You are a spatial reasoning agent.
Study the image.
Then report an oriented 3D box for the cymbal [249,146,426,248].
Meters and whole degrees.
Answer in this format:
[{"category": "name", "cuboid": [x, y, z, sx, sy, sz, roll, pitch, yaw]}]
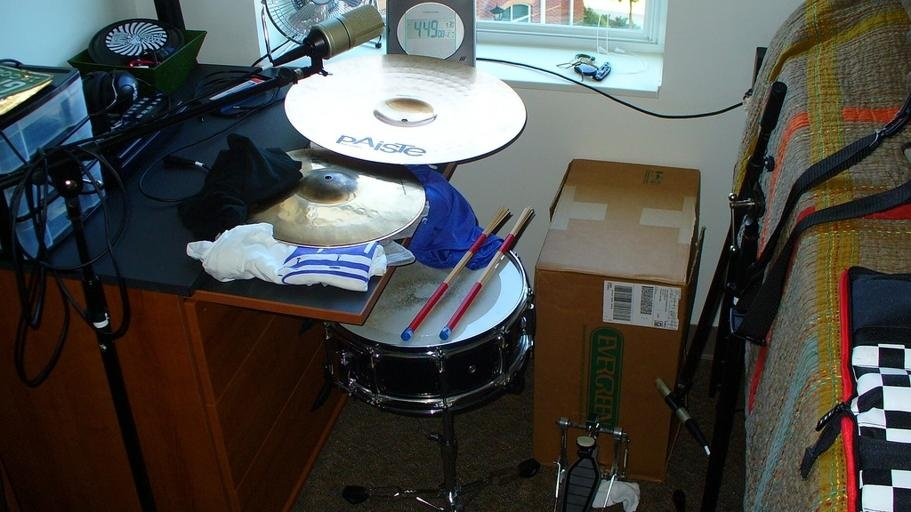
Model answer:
[{"category": "cymbal", "cuboid": [-0.363, -0.196, 2.169, 0.520, 0.234, 0.390, 2, 17, 0]}]
